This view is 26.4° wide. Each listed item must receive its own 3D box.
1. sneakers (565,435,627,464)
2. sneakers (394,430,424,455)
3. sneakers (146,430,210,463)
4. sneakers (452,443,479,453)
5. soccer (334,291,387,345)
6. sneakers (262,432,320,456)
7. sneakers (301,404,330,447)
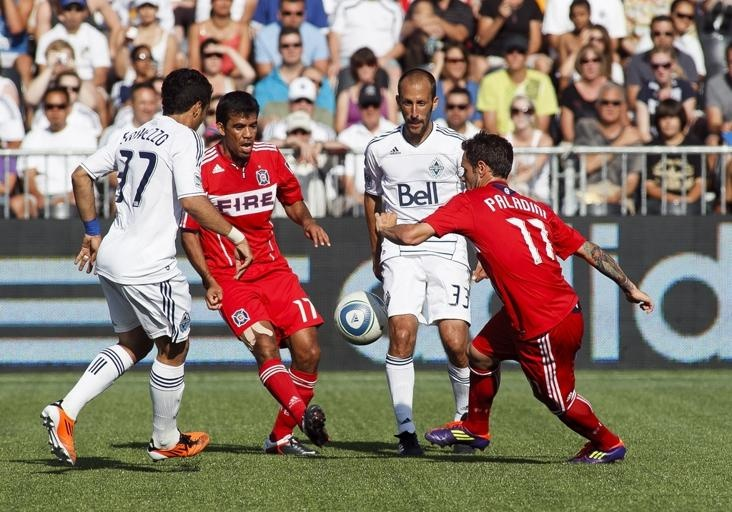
[{"bbox_3d":[2.301,1.922,15.533,0.579,0.272,0.221,-2,-8,1],"label":"sneakers"},{"bbox_3d":[0.451,1.914,15.932,0.145,0.154,0.345,-16,21,-12],"label":"sneakers"},{"bbox_3d":[-1.897,1.873,15.747,0.542,0.257,0.294,-15,42,-12],"label":"sneakers"},{"bbox_3d":[1.036,1.959,16.056,0.269,0.122,0.101,0,8,5],"label":"sneakers"},{"bbox_3d":[-0.046,0.618,16.489,0.440,0.576,0.543,-1,9,5],"label":"soccer"},{"bbox_3d":[-0.774,1.929,16.152,0.571,0.239,0.214,1,-6,10],"label":"sneakers"},{"bbox_3d":[-0.479,1.597,15.038,0.186,0.457,0.206,-12,23,-11],"label":"sneakers"}]
